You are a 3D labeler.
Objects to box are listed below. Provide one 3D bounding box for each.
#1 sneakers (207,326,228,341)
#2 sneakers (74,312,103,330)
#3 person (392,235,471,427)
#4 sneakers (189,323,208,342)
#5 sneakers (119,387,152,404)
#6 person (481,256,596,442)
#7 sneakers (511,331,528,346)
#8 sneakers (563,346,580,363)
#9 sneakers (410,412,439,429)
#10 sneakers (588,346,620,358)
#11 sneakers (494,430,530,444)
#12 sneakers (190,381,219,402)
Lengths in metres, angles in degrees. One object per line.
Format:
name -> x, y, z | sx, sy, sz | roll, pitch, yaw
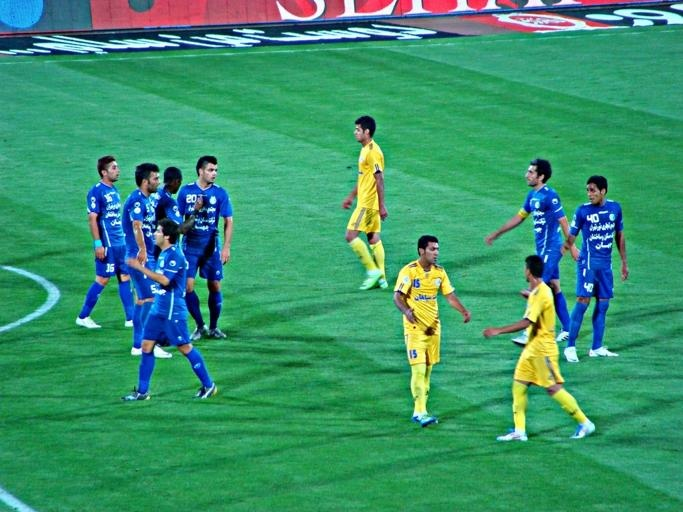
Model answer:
sneakers -> -1.924, 1.225, 19.331 | 0.348, 0.108, 0.144 | 5, 19, 11
sneakers -> -4.031, 1.066, 19.722 | 0.511, 0.134, 0.155 | 4, 8, -1
person -> 1.155, 1.014, 17.060 | 0.868, 2.553, 0.878 | 4, 13, 5
sneakers -> -2.197, 1.216, 19.359 | 0.154, 0.135, 0.408 | 11, 20, 40
sneakers -> -2.876, 2.002, 17.515 | 0.521, 0.152, 0.150 | 1, 0, -2
person -> 2.746, 1.250, 16.704 | 1.476, 2.457, 0.866 | 4, 13, 4
sneakers -> 2.811, 1.300, 19.251 | 0.176, 0.130, 0.408 | 1, 2, 33
sneakers -> 3.474, 1.485, 18.555 | 0.147, 0.123, 0.325 | -8, 18, -19
sneakers -> 1.196, 2.245, 16.929 | 0.387, 0.137, 0.169 | -3, 5, 33
sneakers -> 3.963, 1.475, 18.686 | 0.509, 0.131, 0.138 | 0, 7, 0
sneakers -> 2.313, 2.424, 16.595 | 0.488, 0.134, 0.143 | 1, 3, 3
sneakers -> -1.913, 1.922, 17.641 | 0.331, 0.206, 0.297 | 1, 10, -6
